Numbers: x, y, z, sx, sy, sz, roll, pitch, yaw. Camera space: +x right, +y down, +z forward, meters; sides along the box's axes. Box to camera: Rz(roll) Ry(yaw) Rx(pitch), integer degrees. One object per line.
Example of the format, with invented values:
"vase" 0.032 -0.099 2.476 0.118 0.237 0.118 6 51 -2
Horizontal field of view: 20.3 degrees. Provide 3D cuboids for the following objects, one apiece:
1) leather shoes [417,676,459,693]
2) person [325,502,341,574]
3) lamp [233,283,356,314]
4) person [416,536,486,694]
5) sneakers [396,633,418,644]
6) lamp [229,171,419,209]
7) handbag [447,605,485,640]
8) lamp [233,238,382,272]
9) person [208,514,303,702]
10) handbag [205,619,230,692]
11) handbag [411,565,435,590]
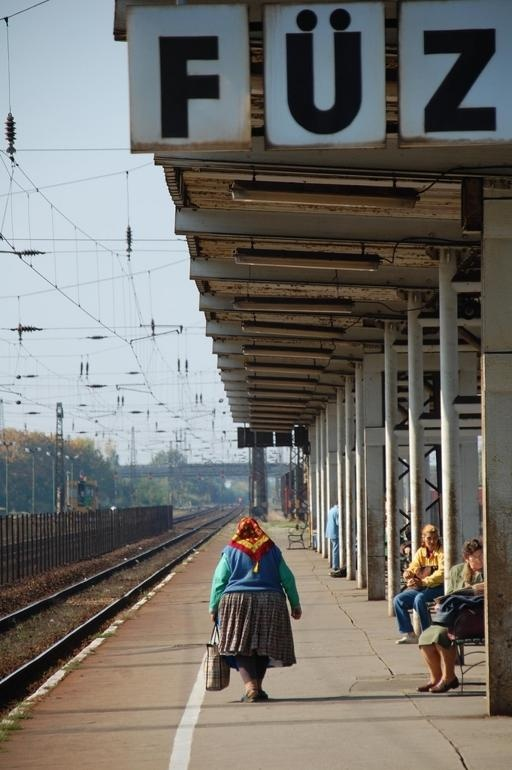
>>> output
"leather shoes" 1.498 2.380 11.288 0.247 0.114 0.154 4 -12 -12
"person" 1.594 2.894 26.980 0.323 1.250 0.369 5 -13 -23
"lamp" 0.528 -1.027 18.255 1.512 0.337 0.981 -1 -8 6
"person" 1.584 1.819 11.308 0.522 1.203 0.795 -1 -6 9
"sneakers" 1.589 2.572 14.533 0.253 0.138 0.097 2 -3 1
"lamp" 0.616 -1.668 12.455 1.635 0.226 0.569 0 -8 1
"handbag" 1.696 1.851 11.079 0.279 0.260 0.205 1 -8 -11
"lamp" 0.583 -1.367 15.467 1.555 0.313 0.475 0 -7 5
"person" 0.008 1.716 10.893 0.683 1.407 0.511 1 -6 -3
"handbag" -0.300 2.074 10.873 0.196 0.498 0.292 -1 -6 12
"handbag" 1.616 1.793 13.446 0.149 0.239 0.085 28 3 25
